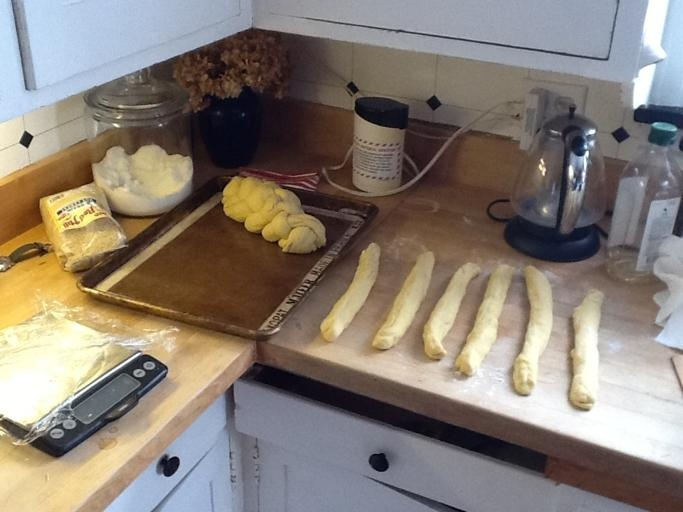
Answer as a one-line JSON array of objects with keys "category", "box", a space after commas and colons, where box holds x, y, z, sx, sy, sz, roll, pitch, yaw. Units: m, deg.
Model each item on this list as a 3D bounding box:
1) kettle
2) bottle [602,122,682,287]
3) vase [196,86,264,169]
[{"category": "kettle", "box": [0.417, -0.194, 1.303, 0.220, 0.332, 0.336, 3, 40, 9]}, {"category": "bottle", "box": [0.651, -0.120, 1.197, 0.129, 0.318, 0.169, 13, 34, 17]}, {"category": "vase", "box": [-0.300, -0.348, 1.527, 0.165, 0.244, 0.111, -9, 52, -16]}]
